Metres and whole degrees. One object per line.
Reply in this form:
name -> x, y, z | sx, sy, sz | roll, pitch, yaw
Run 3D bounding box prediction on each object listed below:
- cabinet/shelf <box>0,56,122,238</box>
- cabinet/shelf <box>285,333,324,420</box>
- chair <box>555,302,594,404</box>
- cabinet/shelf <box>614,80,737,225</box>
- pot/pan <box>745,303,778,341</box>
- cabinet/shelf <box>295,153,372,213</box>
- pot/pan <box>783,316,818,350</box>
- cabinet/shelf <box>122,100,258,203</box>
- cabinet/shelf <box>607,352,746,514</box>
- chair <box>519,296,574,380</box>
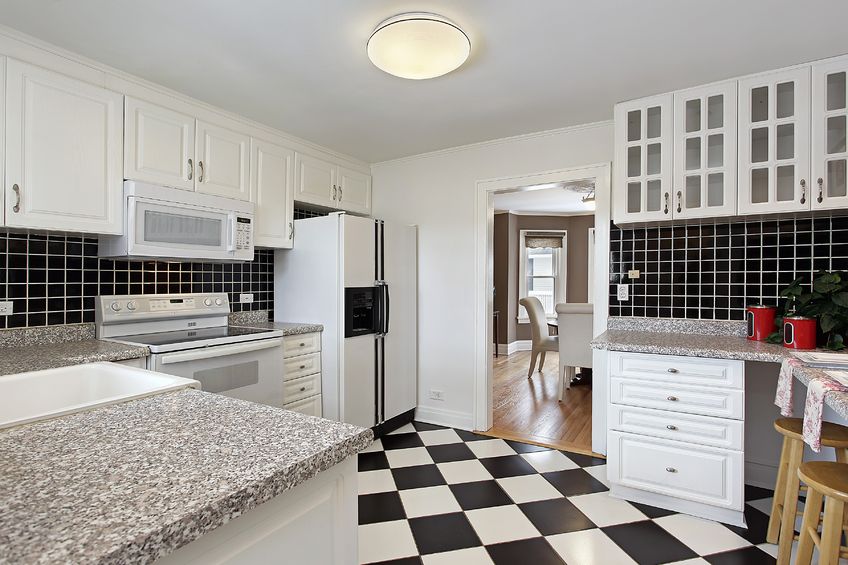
cabinet/shelf -> -2.162, -0.793, 3.248 | 0.671, 1.007, 0.203 | -6, 11, -31
cabinet/shelf -> -0.927, 0.734, 4.148 | 0.119, 0.703, 0.465 | 6, 12, 35
chair -> 1.559, 0.719, 5.638 | 0.371, 0.991, 0.440 | 1, 10, 6
cabinet/shelf -> 1.744, -0.894, 3.663 | 0.939, 1.025, 0.424 | -1, -3, 34
pot/pan -> 2.324, 0.284, 3.584 | 0.217, 0.223, 0.211 | 1, -6, 18
cabinet/shelf -> -0.857, -0.849, 4.870 | 0.269, 0.414, 0.880 | -4, -6, 41
pot/pan -> 2.273, 0.310, 3.289 | 0.195, 0.203, 0.201 | 2, -2, 29
cabinet/shelf -> -1.547, -0.950, 3.926 | 0.976, 0.572, 0.470 | 15, 24, 5
cabinet/shelf -> 1.756, 0.933, 3.654 | 0.839, 1.024, 0.714 | 1, 3, 31
chair -> 1.575, 0.682, 6.553 | 0.717, 0.922, 0.559 | 0, -1, 29
